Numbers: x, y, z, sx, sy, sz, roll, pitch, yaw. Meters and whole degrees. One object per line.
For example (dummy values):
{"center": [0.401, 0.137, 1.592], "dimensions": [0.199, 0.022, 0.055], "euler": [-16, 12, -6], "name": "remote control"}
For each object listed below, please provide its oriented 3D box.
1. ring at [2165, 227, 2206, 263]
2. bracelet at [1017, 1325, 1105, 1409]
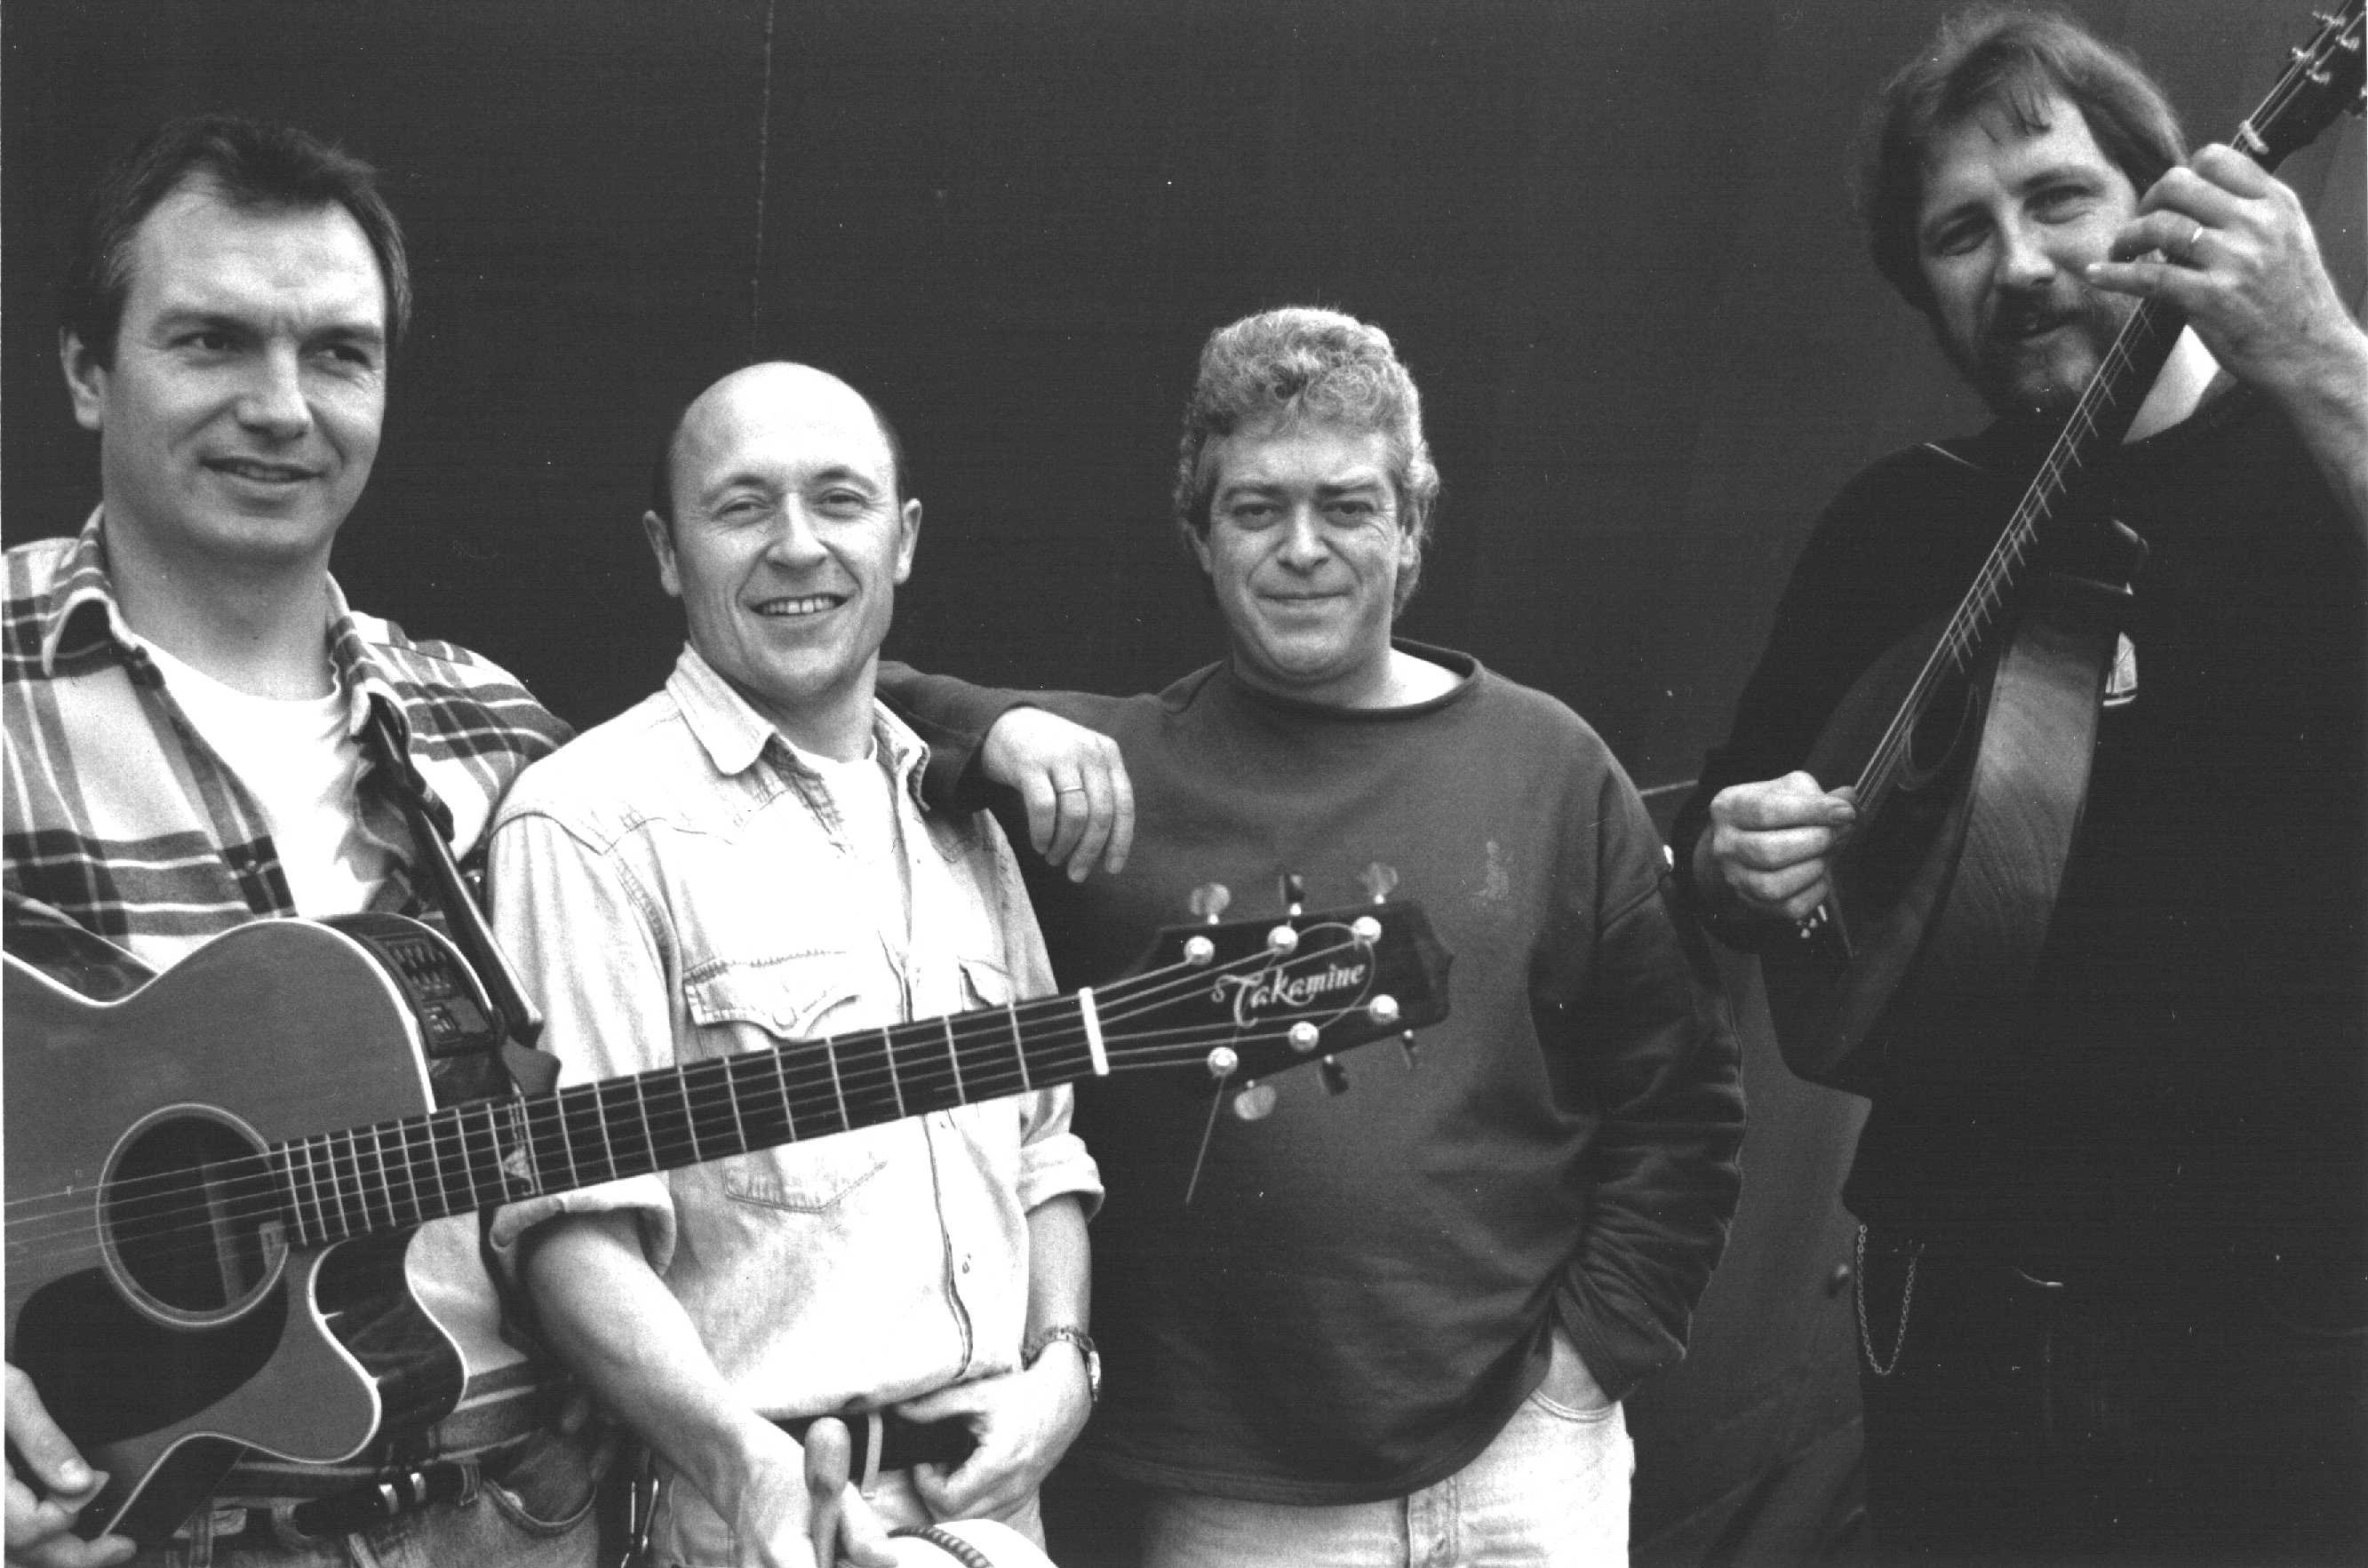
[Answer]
{"center": [1.724, -0.934, 6.009], "dimensions": [0.066, 0.059, 0.016], "euler": [0, 11, 8], "name": "ring"}
{"center": [-0.206, 0.987, 5.987], "dimensions": [0.120, 0.162, 0.070], "euler": [-1, 3, -7], "name": "bracelet"}
